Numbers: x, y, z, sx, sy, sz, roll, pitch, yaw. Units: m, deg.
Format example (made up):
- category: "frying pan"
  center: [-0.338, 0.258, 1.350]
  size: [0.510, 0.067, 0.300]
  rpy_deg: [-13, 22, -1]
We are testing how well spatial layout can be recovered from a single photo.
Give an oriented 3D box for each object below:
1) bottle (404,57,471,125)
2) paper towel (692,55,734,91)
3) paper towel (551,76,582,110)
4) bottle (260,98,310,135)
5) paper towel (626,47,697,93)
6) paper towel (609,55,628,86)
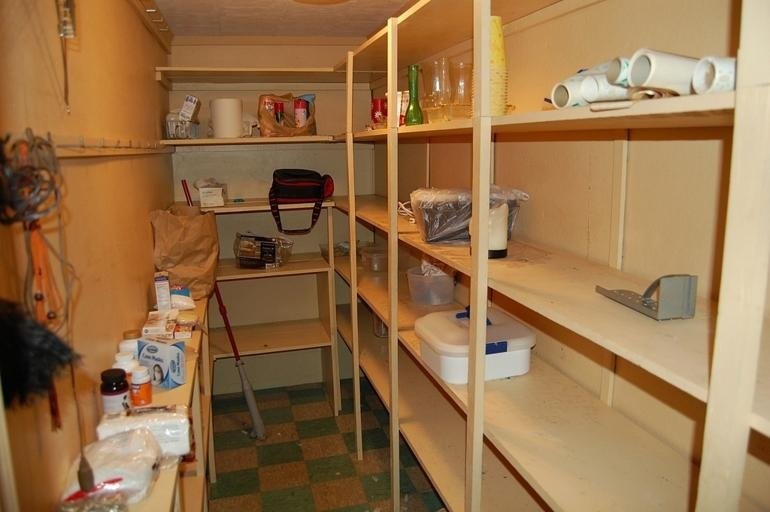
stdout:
- category: "bottle"
  center: [0.247, -0.680, 2.425]
  size: [0.201, 0.271, 0.689]
  rpy_deg: [-4, 14, -16]
- category: "paper towel"
  center: [0.704, -0.385, 1.227]
  size: [0.090, 0.074, 0.073]
  rpy_deg: [11, 19, 38]
- category: "paper towel"
  center: [0.480, -0.416, 1.508]
  size: [0.073, 0.081, 0.068]
  rpy_deg: [-26, 40, -30]
- category: "bottle"
  center: [-0.627, -0.886, 3.666]
  size: [0.260, 0.183, 0.257]
  rpy_deg: [0, 11, 0]
- category: "paper towel"
  center: [0.617, -0.396, 1.287]
  size: [0.199, 0.092, 0.085]
  rpy_deg: [2, 9, -26]
- category: "paper towel"
  center: [0.537, -0.429, 1.330]
  size: [0.046, 0.060, 0.062]
  rpy_deg: [-3, 19, 3]
